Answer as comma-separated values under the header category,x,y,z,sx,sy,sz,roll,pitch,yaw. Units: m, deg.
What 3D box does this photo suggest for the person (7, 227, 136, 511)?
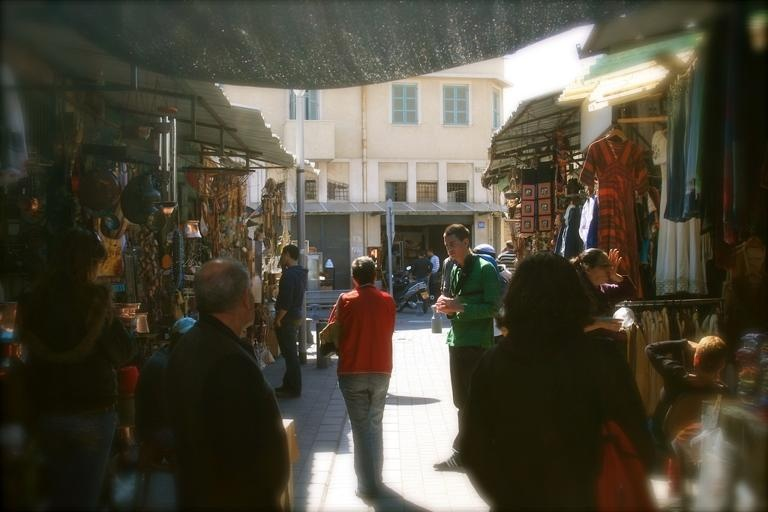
category,x,y,z,sx,sy,sz,roll,pitch,yaw
person,-2.282,0.791,5.263,0.776,1.922,0.781,0,1,-38

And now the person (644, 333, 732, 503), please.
category,x,y,z,sx,sy,sz,roll,pitch,yaw
person,2.598,1.508,6.110,0.655,1.892,0.522,-5,22,-6

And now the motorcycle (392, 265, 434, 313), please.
category,x,y,z,sx,sy,sz,roll,pitch,yaw
motorcycle,1.090,1.068,21.921,0.697,1.307,1.795,-12,11,-18

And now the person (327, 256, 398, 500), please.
category,x,y,z,sx,sy,sz,roll,pitch,yaw
person,-0.218,1.087,6.600,0.605,2.139,0.640,1,1,1
